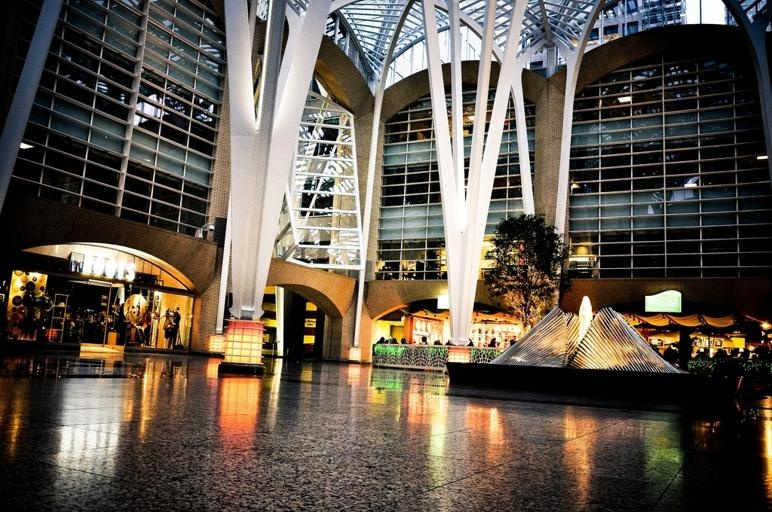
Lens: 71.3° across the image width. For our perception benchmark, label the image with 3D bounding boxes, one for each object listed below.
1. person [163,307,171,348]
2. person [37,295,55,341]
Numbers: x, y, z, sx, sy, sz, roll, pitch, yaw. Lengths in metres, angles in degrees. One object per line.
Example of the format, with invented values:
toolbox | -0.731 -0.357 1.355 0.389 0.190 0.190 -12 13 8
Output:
person | -13.493 4.543 33.484 0.426 2.242 0.646 4 -9 -5
person | -18.331 3.316 29.012 0.426 2.430 1.368 6 -9 -12
